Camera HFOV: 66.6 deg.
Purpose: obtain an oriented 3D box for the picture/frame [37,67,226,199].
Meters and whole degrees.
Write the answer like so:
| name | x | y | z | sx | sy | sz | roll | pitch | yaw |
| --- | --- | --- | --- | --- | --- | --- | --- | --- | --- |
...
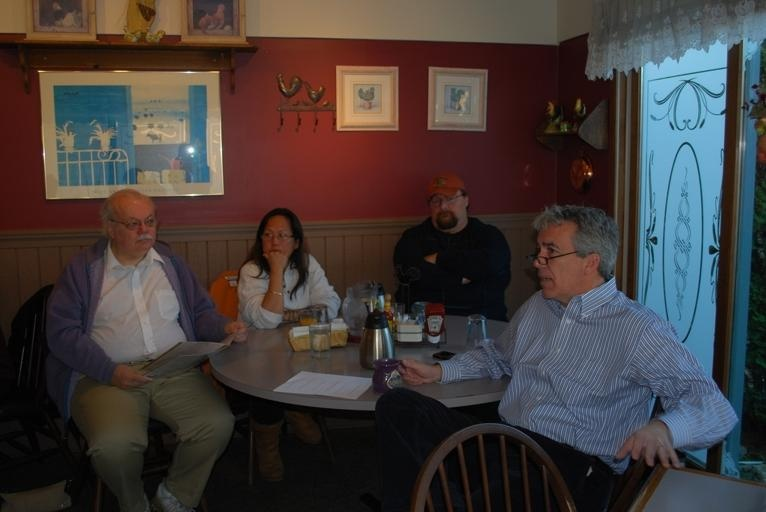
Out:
| name | x | y | z | sx | sy | sz | roll | pitch | yaw |
| --- | --- | --- | --- | --- | --- | --- | --- | --- | --- |
| picture/frame | -2.042 | -0.992 | 4.565 | 1.087 | 0.832 | 0.024 | -1 | 6 | -6 |

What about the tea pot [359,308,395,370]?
| name | x | y | z | sx | sy | sz | roll | pitch | yaw |
| --- | --- | --- | --- | --- | --- | --- | --- | --- | --- |
| tea pot | -0.027 | 0.382 | 2.787 | 0.159 | 0.260 | 0.166 | -3 | 5 | 0 |

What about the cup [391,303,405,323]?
| name | x | y | z | sx | sy | sz | roll | pitch | yaw |
| --- | --- | --- | --- | --- | --- | --- | --- | --- | --- |
| cup | 0.077 | 0.314 | 3.185 | 0.076 | 0.092 | 0.080 | 1 | 5 | 0 |

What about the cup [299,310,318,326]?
| name | x | y | z | sx | sy | sz | roll | pitch | yaw |
| --- | --- | --- | --- | --- | --- | --- | --- | --- | --- |
| cup | -0.408 | 0.330 | 3.189 | 0.091 | 0.093 | 0.164 | 6 | 1 | -9 |

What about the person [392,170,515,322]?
| name | x | y | z | sx | sy | sz | roll | pitch | yaw |
| --- | --- | --- | --- | --- | --- | --- | --- | --- | --- |
| person | 0.498 | 0.011 | 4.347 | 0.849 | 1.212 | 0.650 | 0 | 8 | 23 |

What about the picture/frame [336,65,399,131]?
| name | x | y | z | sx | sy | sz | roll | pitch | yaw |
| --- | --- | --- | --- | --- | --- | --- | --- | --- | --- |
| picture/frame | -0.159 | -1.330 | 4.840 | 0.512 | 0.543 | 0.036 | 1 | 8 | -5 |

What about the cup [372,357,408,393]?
| name | x | y | z | sx | sy | sz | roll | pitch | yaw |
| --- | --- | --- | --- | --- | --- | --- | --- | --- | --- |
| cup | 0.044 | 0.556 | 2.602 | 0.122 | 0.163 | 0.159 | -10 | -17 | 12 |

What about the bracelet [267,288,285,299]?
| name | x | y | z | sx | sy | sz | roll | pitch | yaw |
| --- | --- | --- | --- | --- | --- | --- | --- | --- | --- |
| bracelet | -0.633 | 0.223 | 3.399 | 0.101 | 0.059 | 0.064 | -6 | 14 | -20 |

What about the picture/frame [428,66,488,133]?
| name | x | y | z | sx | sy | sz | roll | pitch | yaw |
| --- | --- | --- | --- | --- | --- | --- | --- | --- | --- |
| picture/frame | 0.607 | -1.356 | 4.957 | 0.537 | 0.541 | 0.044 | 0 | 5 | -16 |

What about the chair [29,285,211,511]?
| name | x | y | z | sx | sy | sz | roll | pitch | yaw |
| --- | --- | --- | --- | --- | --- | --- | --- | --- | --- |
| chair | -1.306 | 0.691 | 3.082 | 0.719 | 1.075 | 0.880 | -12 | 17 | -38 |

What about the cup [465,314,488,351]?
| name | x | y | z | sx | sy | sz | roll | pitch | yaw |
| --- | --- | --- | --- | --- | --- | --- | --- | --- | --- |
| cup | 0.479 | 0.399 | 3.036 | 0.113 | 0.144 | 0.110 | 4 | -26 | 2 |

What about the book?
| name | x | y | z | sx | sy | sz | roll | pitch | yaw |
| --- | --- | --- | --- | --- | --- | --- | --- | --- | --- |
| book | -0.902 | 0.519 | 2.935 | 0.256 | 0.261 | 0.297 | -14 | -12 | 2 |
